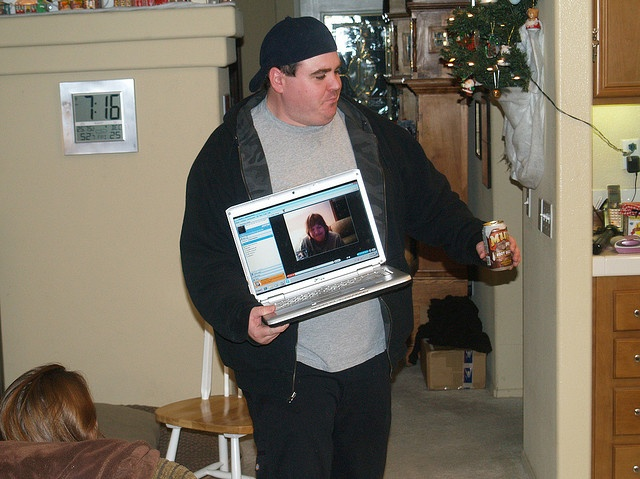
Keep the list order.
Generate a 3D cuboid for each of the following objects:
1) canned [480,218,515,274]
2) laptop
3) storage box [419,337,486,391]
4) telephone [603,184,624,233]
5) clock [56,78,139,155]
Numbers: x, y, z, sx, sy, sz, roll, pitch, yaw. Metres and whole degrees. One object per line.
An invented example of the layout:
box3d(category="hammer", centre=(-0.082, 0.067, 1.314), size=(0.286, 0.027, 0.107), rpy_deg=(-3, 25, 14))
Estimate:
box3d(category="canned", centre=(0.660, 0.029, 2.571), size=(0.108, 0.203, 0.134), rpy_deg=(1, 10, 31))
box3d(category="laptop", centre=(-0.036, 0.025, 2.558), size=(0.694, 0.537, 0.478), rpy_deg=(-18, 18, -7))
box3d(category="storage box", centre=(0.953, 0.905, 4.917), size=(0.316, 0.218, 0.326), rpy_deg=(4, 5, -6))
box3d(category="telephone", centre=(1.568, -0.160, 3.686), size=(0.091, 0.266, 0.083), rpy_deg=(-23, 21, -33))
box3d(category="clock", centre=(-1.241, -0.707, 3.901), size=(0.385, 0.409, 0.030), rpy_deg=(-2, 10, 0))
